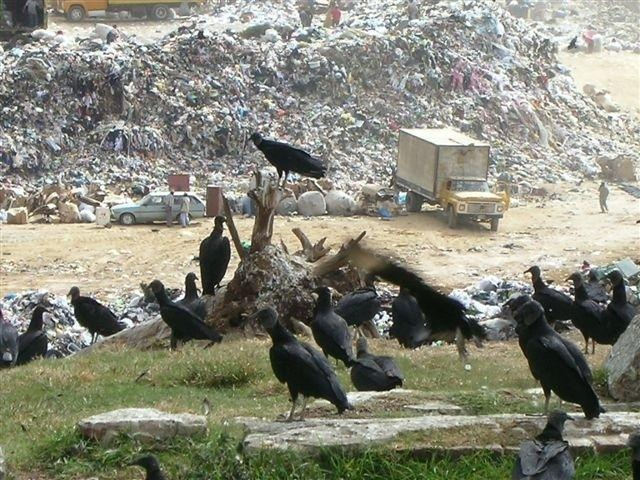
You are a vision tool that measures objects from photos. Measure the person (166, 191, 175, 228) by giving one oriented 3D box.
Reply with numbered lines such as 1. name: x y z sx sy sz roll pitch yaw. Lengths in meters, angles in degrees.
1. person: -5.393 -1.144 44.832 0.285 1.219 0.377 1 9 -8

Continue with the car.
1. car: -5.857 -0.994 45.205 2.755 1.019 1.373 1 6 -9

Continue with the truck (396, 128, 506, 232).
1. truck: 5.378 -2.628 46.910 2.353 3.538 5.378 -5 18 -24

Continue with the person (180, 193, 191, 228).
1. person: -4.862 -1.103 44.821 0.364 1.180 0.628 1 9 -6
